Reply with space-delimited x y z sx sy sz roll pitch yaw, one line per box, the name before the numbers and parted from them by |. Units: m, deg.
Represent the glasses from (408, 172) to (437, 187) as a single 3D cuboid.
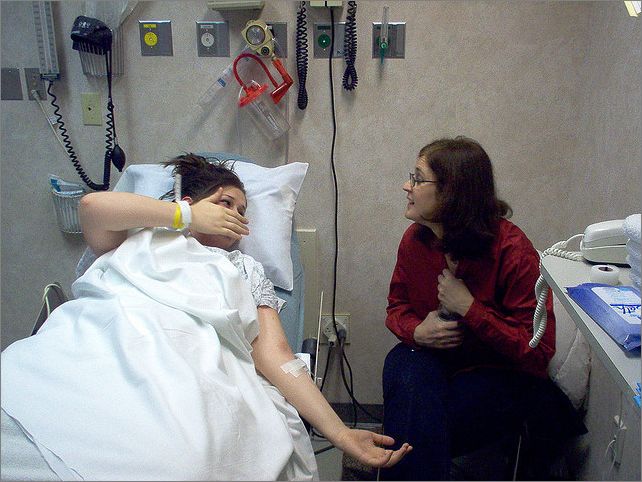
glasses | 0.412 -0.244 2.200 0.063 0.022 0.068 4 21 -8
